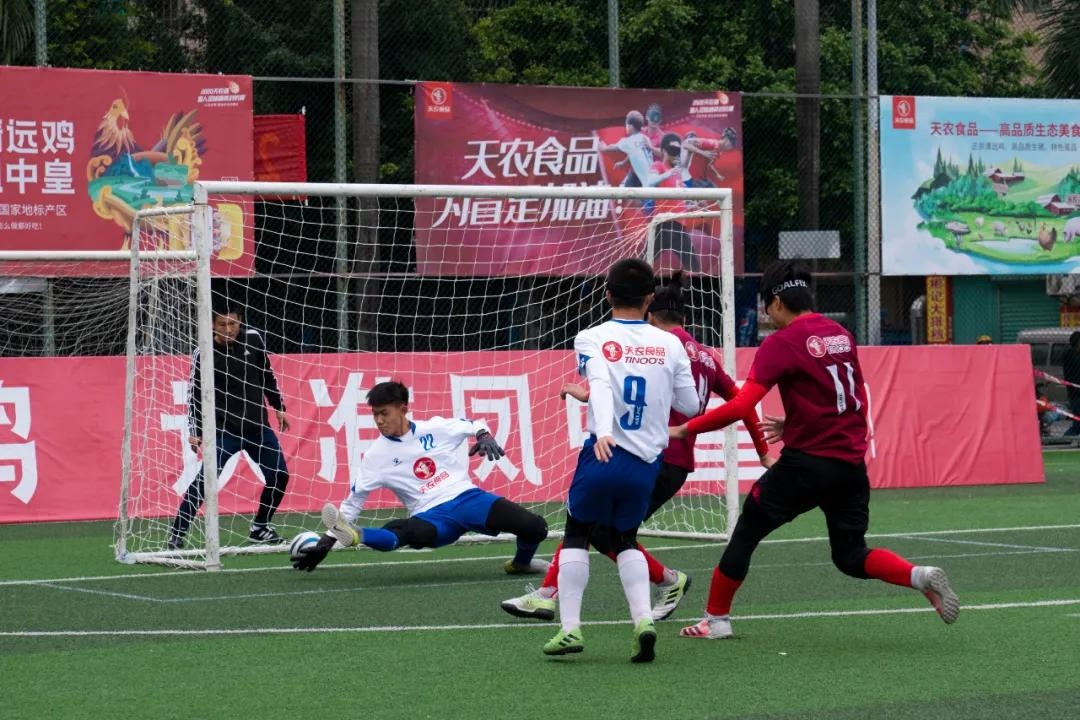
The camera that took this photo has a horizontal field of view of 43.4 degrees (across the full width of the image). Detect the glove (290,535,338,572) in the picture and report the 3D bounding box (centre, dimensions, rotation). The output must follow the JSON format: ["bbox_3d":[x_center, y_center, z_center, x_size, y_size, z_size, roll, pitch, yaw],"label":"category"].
[{"bbox_3d":[-2.156,1.813,13.049,0.334,0.264,0.451,19,28,23],"label":"glove"}]

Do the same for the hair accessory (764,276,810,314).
[{"bbox_3d":[2.081,-0.541,11.223,0.270,0.293,0.344,-2,3,-26],"label":"hair accessory"}]

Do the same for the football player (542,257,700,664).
[{"bbox_3d":[0.511,0.757,11.267,1.359,3.044,1.943,2,-1,-8],"label":"football player"}]

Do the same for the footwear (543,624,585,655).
[{"bbox_3d":[0.200,2.250,10.879,0.435,0.257,0.154,0,-9,7],"label":"footwear"}]

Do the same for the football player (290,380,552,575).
[{"bbox_3d":[-1.106,1.259,13.369,2.788,1.569,1.430,13,-38,-36],"label":"football player"}]

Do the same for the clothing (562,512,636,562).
[{"bbox_3d":[0.482,1.402,10.937,0.262,0.187,0.536,28,45,2],"label":"clothing"}]

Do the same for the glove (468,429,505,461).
[{"bbox_3d":[-0.537,0.820,13.069,0.246,0.307,0.497,-2,3,-10],"label":"glove"}]

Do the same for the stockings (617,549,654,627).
[{"bbox_3d":[0.754,1.795,10.867,0.251,0.588,0.301,-2,4,-3],"label":"stockings"}]

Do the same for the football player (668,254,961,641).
[{"bbox_3d":[2.377,0.820,11.346,2.731,3.135,1.486,3,0,35],"label":"football player"}]

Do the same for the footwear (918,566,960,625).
[{"bbox_3d":[3.244,1.912,11.136,0.325,0.499,0.339,-1,4,16],"label":"footwear"}]

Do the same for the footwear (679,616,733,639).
[{"bbox_3d":[1.417,2.232,11.474,0.505,0.216,0.176,0,-2,13],"label":"footwear"}]

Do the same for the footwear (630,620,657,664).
[{"bbox_3d":[0.824,2.226,10.869,0.191,0.392,0.284,-2,4,1],"label":"footwear"}]

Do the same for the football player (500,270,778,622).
[{"bbox_3d":[1.037,0.765,11.882,1.960,3.352,1.310,0,0,37],"label":"football player"}]

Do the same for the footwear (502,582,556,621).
[{"bbox_3d":[-0.112,2.085,11.650,0.591,0.304,0.207,6,-37,4],"label":"footwear"}]

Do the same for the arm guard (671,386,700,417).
[{"bbox_3d":[1.188,0.326,11.019,0.265,0.254,0.177,10,6,34],"label":"arm guard"}]

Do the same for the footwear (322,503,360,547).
[{"bbox_3d":[-1.912,1.565,12.866,0.254,0.517,0.229,-5,-37,-52],"label":"footwear"}]
